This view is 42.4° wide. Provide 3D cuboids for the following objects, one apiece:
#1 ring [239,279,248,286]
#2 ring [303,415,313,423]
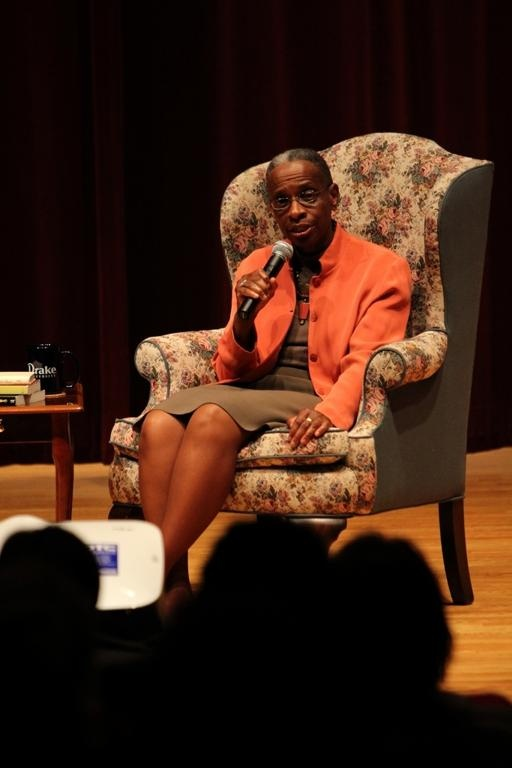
[{"bbox_3d":[-0.028,-0.204,1.349,0.010,0.012,0.014,-3,-4,12],"label":"ring"},{"bbox_3d":[0.093,0.064,1.190,0.011,0.012,0.020,5,-5,2],"label":"ring"}]
